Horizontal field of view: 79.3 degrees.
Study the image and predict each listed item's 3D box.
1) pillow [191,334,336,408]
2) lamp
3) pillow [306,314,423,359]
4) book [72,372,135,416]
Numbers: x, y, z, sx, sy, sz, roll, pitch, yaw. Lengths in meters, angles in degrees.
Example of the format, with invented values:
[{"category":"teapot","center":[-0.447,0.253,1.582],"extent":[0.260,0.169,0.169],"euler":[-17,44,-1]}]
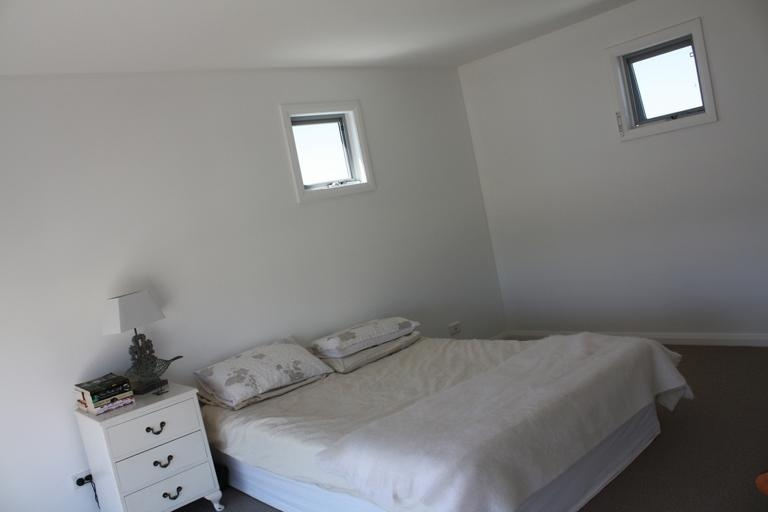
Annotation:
[{"category":"pillow","center":[-0.871,0.890,3.545],"extent":[0.672,0.170,0.524],"euler":[-17,35,-34]},{"category":"lamp","center":[-1.748,0.610,3.352],"extent":[0.429,0.699,0.369],"euler":[-15,9,-31]},{"category":"pillow","center":[-0.175,0.695,4.048],"extent":[0.652,0.181,0.364],"euler":[-14,5,-37]},{"category":"book","center":[-1.893,0.914,3.149],"extent":[0.284,0.166,0.283],"euler":[1,9,36]}]
